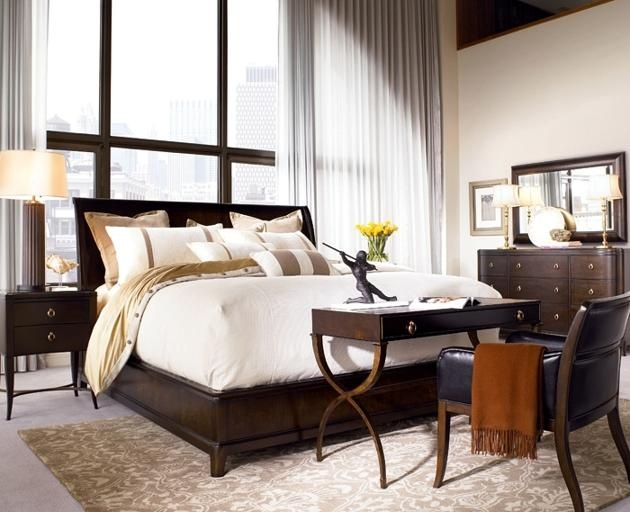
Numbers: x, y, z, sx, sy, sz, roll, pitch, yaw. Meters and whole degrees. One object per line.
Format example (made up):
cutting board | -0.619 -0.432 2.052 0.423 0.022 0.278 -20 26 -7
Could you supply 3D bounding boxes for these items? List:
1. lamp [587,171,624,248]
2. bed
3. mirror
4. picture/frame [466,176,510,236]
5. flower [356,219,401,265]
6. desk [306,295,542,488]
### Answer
lamp | 2.839 -0.449 5.349 0.280 0.711 0.425 0 2 30
bed | -0.421 0.041 3.560 1.853 1.482 1.956 1 -3 -35
mirror | 2.667 -0.605 5.658 0.055 0.790 1.052 2 -4 -33
picture/frame | 2.053 -0.591 6.427 0.062 0.966 0.701 2 -4 -38
flower | 0.680 -0.128 5.653 0.431 0.503 0.464 0 -2 -6
desk | 0.474 0.630 2.517 0.336 0.490 0.767 1 2 45
